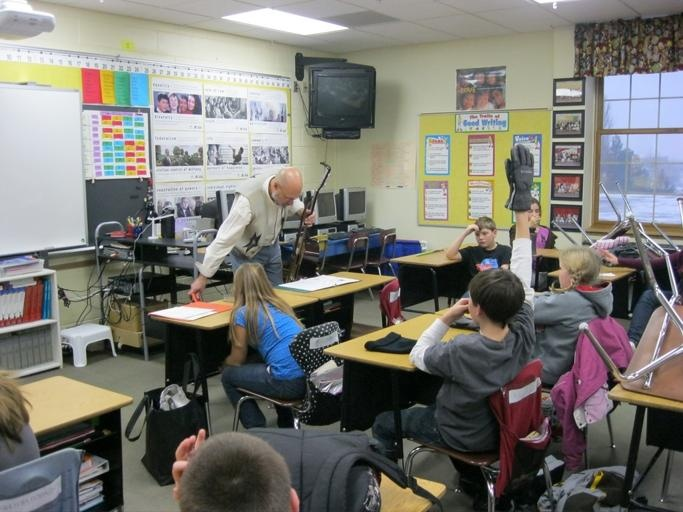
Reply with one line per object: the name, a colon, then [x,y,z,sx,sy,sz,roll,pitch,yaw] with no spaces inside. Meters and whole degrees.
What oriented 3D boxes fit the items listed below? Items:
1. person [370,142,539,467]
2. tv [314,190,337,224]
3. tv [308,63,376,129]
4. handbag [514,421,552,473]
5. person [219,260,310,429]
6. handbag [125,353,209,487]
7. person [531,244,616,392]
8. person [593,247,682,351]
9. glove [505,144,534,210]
person: [0.510,0.271,2.355,0.751,1.500,0.603,-1,9,12]
tv: [-0.208,-0.679,7.289,0.155,0.451,0.617,1,9,21]
tv: [-0.023,-2.308,7.473,0.853,0.853,0.470,0,11,-10]
handbag: [0.845,0.851,2.382,0.086,0.177,0.202,17,25,24]
person: [-0.434,0.600,3.156,0.702,1.104,0.412,5,12,42]
handbag: [-1.025,0.980,3.284,0.413,0.586,0.617,-2,19,-19]
person: [1.292,0.356,2.995,0.412,0.775,0.226,-4,9,-10]
person: [2.005,0.248,3.542,0.561,0.192,0.845,2,18,22]
glove: [0.800,-0.350,2.367,0.112,0.315,0.262,0,9,18]
